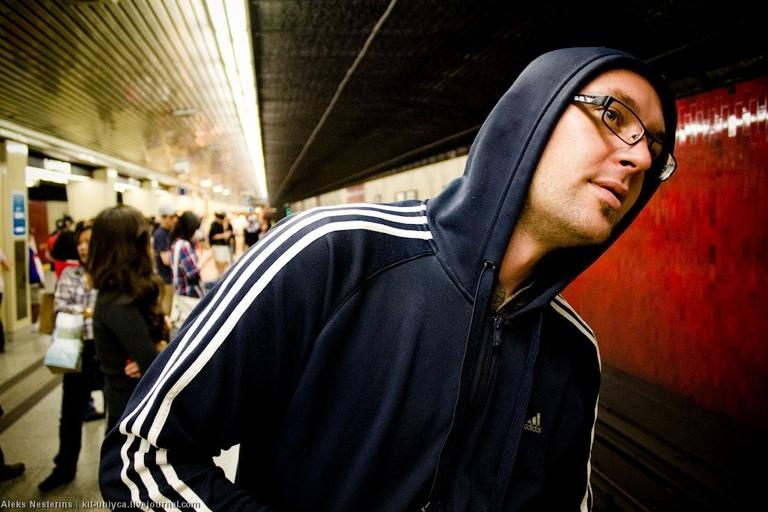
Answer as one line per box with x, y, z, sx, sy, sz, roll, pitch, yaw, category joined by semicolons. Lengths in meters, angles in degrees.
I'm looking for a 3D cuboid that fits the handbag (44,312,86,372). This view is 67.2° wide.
-2.715;0.744;4.925;0.258;0.533;0.211;4;2;-20;handbag
